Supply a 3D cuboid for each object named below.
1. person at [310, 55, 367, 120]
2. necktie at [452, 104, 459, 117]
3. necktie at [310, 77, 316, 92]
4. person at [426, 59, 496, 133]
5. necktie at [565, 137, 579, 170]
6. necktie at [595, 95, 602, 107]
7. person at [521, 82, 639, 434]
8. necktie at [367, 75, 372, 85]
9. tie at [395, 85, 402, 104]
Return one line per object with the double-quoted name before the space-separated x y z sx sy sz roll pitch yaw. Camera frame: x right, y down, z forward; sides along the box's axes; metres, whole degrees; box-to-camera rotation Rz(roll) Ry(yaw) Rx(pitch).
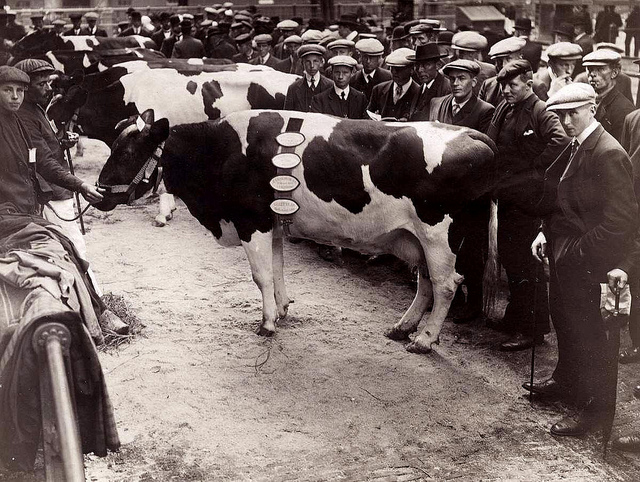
"person" 0.270 -1.878 10.158 0.646 0.764 0.435 -15 23 -36
"necktie" 1.485 -1.434 9.041 0.023 0.088 0.070 20 -13 -1
"necktie" -0.094 -2.003 10.558 0.066 0.163 0.039 0 18 4
"person" 1.567 -1.524 9.056 0.896 0.857 0.487 15 14 43
"necktie" 2.237 -0.797 7.317 0.083 0.268 0.220 2 19 11
"necktie" 3.005 -1.516 8.888 0.058 0.109 0.177 6 20 21
"person" 2.326 0.175 7.231 0.687 2.977 1.003 -5 19 -11
"necktie" 0.703 -2.285 11.655 0.050 0.095 0.114 -4 18 -8
"tie" 0.966 -1.816 10.258 0.042 0.241 0.014 -7 -25 32
